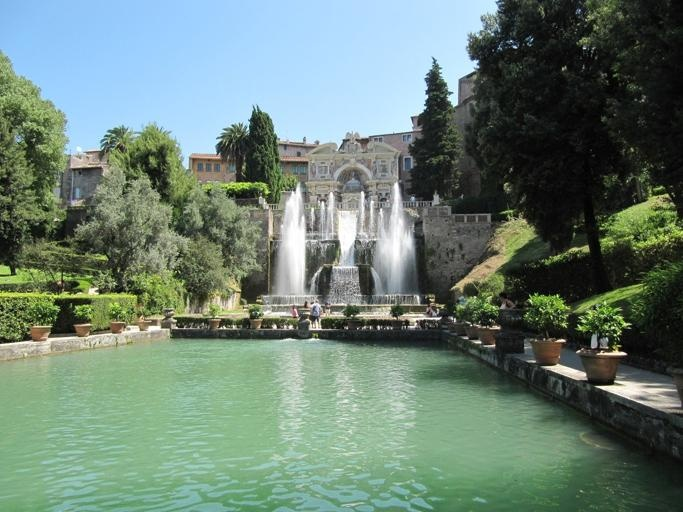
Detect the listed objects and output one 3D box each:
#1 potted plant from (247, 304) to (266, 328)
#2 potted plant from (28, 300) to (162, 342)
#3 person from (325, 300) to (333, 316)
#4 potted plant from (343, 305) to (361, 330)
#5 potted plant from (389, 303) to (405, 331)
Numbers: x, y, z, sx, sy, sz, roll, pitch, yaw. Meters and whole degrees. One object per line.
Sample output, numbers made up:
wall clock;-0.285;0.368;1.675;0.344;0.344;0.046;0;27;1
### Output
potted plant;-4.177;2.937;26.229;0.652;1.079;0.715;0;-1;-10
potted plant;-10.300;2.505;22.893;2.149;1.571;3.472;0;-1;27
person;-0.828;3.375;34.811;0.815;0.934;0.296;1;1;9
potted plant;0.535;2.967;25.921;0.992;1.305;0.933;1;-16;-3
potted plant;2.749;2.989;26.309;0.821;1.275;0.853;-4;-5;34
